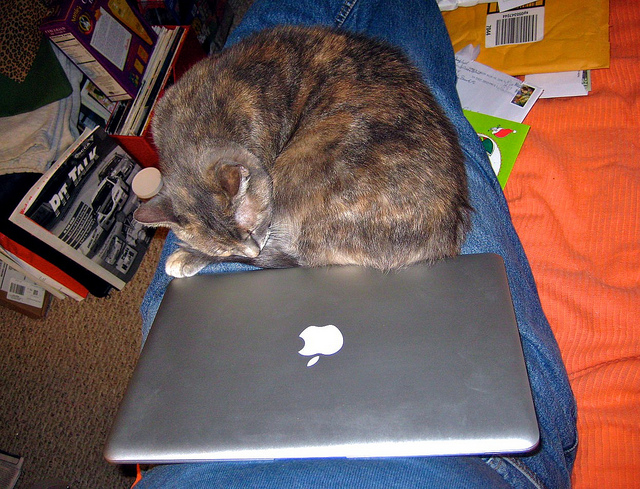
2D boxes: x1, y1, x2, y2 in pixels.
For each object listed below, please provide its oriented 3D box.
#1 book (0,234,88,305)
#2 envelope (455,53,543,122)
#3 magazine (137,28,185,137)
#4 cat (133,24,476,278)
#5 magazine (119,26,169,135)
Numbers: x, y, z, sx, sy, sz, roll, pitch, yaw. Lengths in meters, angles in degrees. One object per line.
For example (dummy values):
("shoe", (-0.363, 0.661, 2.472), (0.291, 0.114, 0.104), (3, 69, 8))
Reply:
("book", (-1.118, 0.105, 2.035), (0.099, 0.480, 0.082), (24, 72, 19))
("envelope", (0.745, -0.639, 2.045), (0.313, 0.025, 0.223), (34, 85, 35))
("magazine", (-0.707, -0.700, 2.203), (0.096, 0.326, 0.501), (27, 74, -18))
("cat", (-0.025, -0.340, 1.786), (1.079, 0.336, 0.865), (-2, 66, 8))
("magazine", (-0.761, -0.720, 2.166), (0.088, 0.361, 0.394), (28, 34, 1))
